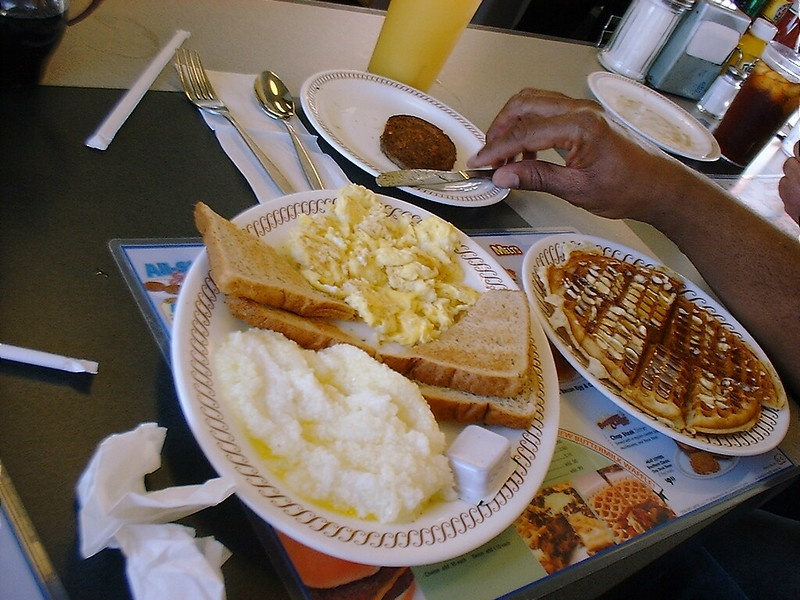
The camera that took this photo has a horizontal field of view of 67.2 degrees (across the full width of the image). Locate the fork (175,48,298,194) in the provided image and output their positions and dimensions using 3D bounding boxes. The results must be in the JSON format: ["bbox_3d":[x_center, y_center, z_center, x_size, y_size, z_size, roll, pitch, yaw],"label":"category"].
[{"bbox_3d":[-0.366,-0.385,1.320,0.064,0.069,0.478,-27,77,-38],"label":"fork"}]

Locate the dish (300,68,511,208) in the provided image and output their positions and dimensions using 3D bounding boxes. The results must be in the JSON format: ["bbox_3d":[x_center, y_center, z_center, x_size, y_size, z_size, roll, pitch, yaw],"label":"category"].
[{"bbox_3d":[-0.031,-0.425,1.422,0.415,0.062,0.458,4,41,-27],"label":"dish"}]

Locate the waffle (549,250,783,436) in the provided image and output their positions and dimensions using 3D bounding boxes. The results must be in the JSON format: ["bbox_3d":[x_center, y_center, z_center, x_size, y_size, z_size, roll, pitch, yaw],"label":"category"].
[{"bbox_3d":[0.566,0.077,1.275,0.053,0.376,0.435,-38,70,-25],"label":"waffle"}]

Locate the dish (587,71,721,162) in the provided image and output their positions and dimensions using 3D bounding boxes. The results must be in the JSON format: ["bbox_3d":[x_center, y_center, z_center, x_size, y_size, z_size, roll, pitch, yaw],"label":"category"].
[{"bbox_3d":[0.825,-0.576,2.091,0.406,0.048,0.419,14,35,-31],"label":"dish"}]

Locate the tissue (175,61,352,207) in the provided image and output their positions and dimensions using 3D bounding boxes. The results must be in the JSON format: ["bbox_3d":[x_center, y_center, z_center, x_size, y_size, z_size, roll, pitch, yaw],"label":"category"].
[{"bbox_3d":[-0.315,-0.363,1.323,0.249,0.072,0.500,-23,71,-40],"label":"tissue"}]

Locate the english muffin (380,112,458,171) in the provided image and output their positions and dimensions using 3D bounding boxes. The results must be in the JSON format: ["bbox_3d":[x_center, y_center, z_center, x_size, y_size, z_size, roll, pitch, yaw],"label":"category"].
[{"bbox_3d":[0.046,-0.383,1.458,0.183,0.041,0.180,-18,66,-22],"label":"english muffin"}]
